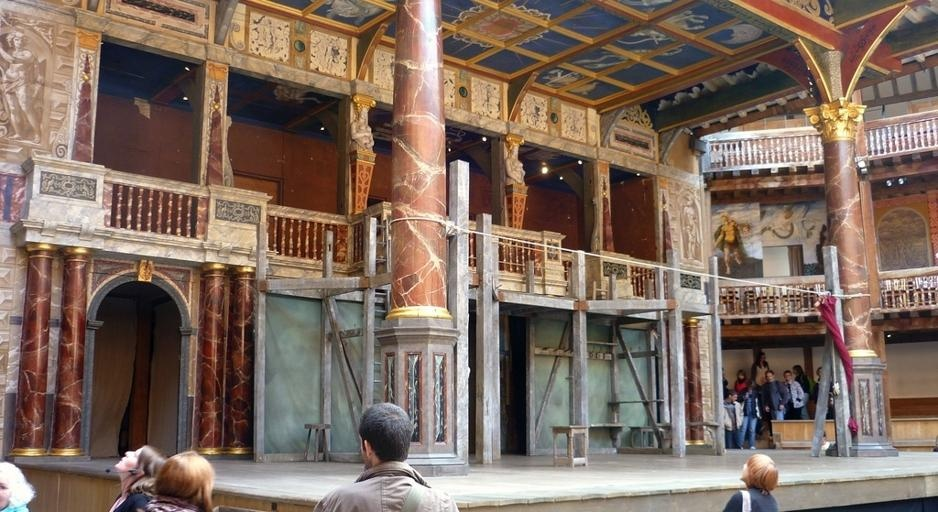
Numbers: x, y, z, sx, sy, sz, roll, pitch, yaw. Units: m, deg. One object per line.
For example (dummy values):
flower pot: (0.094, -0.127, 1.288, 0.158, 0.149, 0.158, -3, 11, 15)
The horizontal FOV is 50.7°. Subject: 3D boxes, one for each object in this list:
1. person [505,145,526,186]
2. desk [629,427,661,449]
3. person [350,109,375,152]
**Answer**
person: (1.264, -2.608, 28.333, 0.574, 1.191, 0.258, 12, -20, -44)
desk: (4.749, 4.976, 27.151, 0.345, 0.442, 1.014, -7, -10, 35)
person: (-2.840, -3.344, 26.307, 0.348, 1.161, 0.601, -12, -17, 33)
